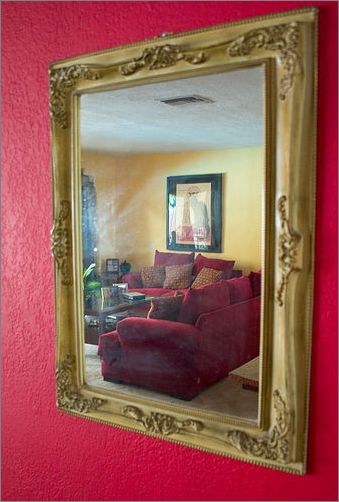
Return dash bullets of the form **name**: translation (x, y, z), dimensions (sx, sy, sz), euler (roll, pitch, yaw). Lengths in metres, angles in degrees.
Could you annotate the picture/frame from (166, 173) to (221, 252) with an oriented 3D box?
- **picture/frame**: translation (0.068, -0.099, 1.207), dimensions (0.209, 0.241, 0.012), euler (2, 3, 39)
